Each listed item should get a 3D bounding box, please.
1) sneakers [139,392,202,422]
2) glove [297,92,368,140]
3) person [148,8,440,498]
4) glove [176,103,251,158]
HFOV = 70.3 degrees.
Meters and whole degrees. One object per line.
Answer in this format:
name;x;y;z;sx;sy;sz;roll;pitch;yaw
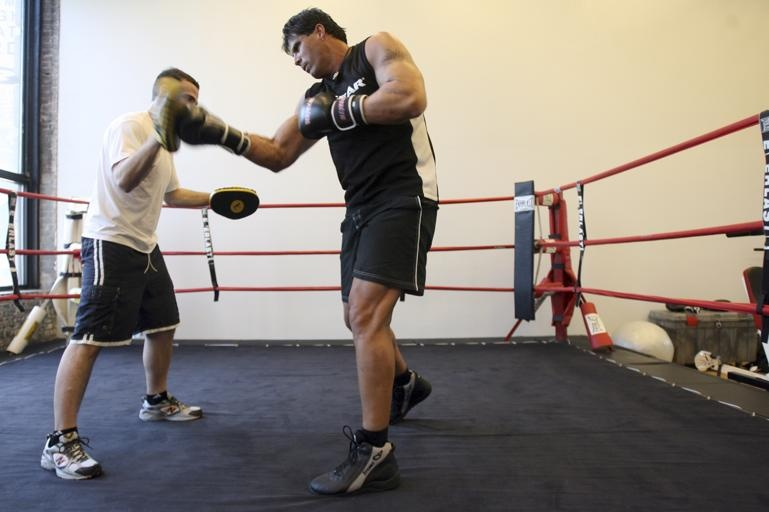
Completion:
sneakers;-1.245;0.890;3.229;0.366;0.156;0.151;2;-6;-11
glove;-0.236;-0.678;2.676;0.388;0.141;0.218;-3;23;40
person;-0.278;-0.065;2.711;1.062;2.262;0.770;1;14;5
glove;-0.844;-0.633;2.752;0.379;0.144;0.215;23;-6;9
